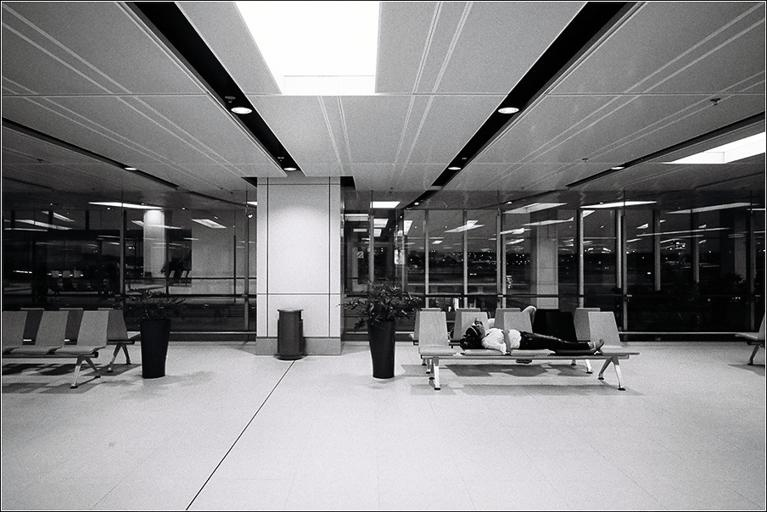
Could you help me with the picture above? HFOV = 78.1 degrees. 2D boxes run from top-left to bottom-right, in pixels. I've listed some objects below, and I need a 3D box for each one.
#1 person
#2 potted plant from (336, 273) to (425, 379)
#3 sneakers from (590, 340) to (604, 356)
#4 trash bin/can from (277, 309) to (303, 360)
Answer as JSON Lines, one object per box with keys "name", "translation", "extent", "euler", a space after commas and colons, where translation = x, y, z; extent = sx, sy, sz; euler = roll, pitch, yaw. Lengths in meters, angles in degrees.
{"name": "person", "translation": [2.772, 1.655, 9.083], "extent": [1.932, 0.422, 0.960], "euler": [4, 8, 7]}
{"name": "potted plant", "translation": [0.072, 1.474, 9.579], "extent": [1.552, 1.753, 1.672], "euler": [-8, -19, 25]}
{"name": "sneakers", "translation": [4.120, 1.740, 9.095], "extent": [0.160, 0.177, 0.444], "euler": [-13, 24, 37]}
{"name": "trash bin/can", "translation": [-2.081, 1.775, 10.701], "extent": [0.668, 1.089, 0.659], "euler": [-4, 13, -19]}
